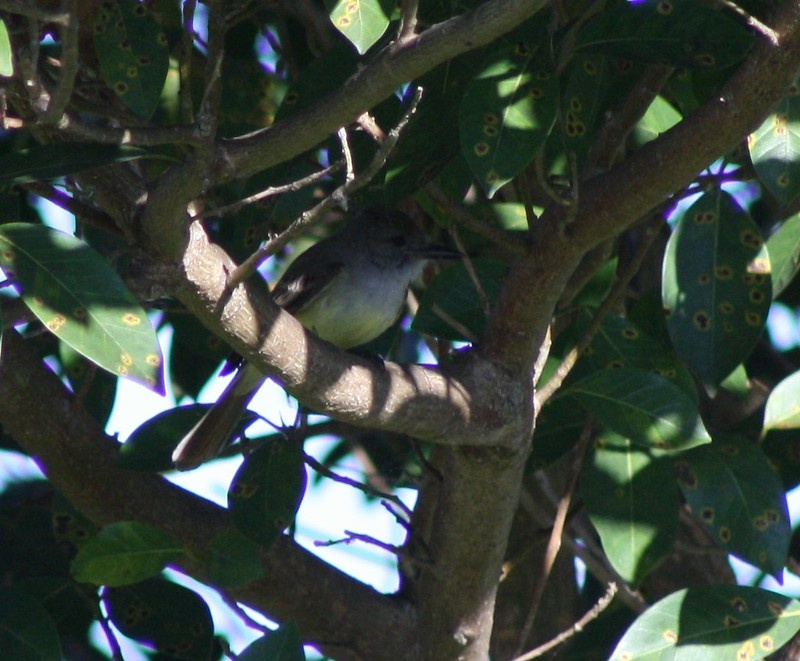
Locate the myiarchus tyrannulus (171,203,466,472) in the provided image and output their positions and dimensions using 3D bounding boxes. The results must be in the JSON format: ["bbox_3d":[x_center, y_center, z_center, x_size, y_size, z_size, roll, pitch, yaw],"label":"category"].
[{"bbox_3d":[-0.325,-0.114,6.738,1.192,0.604,0.425,-11,-3,28],"label":"myiarchus tyrannulus"}]
